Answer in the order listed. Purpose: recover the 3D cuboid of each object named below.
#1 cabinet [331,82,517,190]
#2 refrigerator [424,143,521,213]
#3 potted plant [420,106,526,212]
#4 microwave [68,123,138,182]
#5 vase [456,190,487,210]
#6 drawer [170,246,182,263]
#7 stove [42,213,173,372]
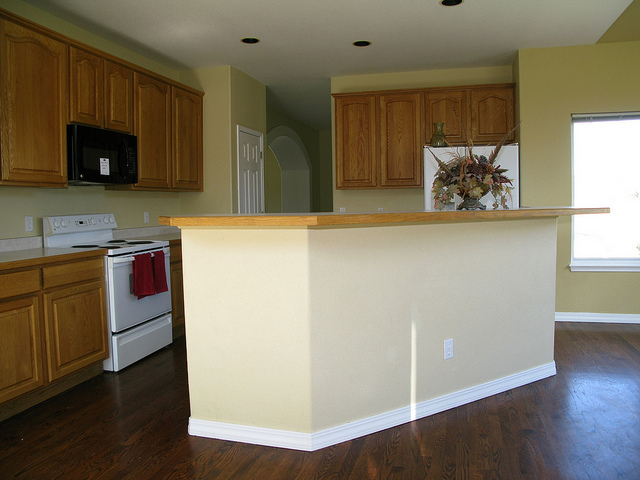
[{"bbox_3d":[1.185,-1.317,5.834,2.638,1.265,1.421,3,6,7],"label":"cabinet"},{"bbox_3d":[1.259,-0.518,3.908,0.704,0.738,0.243,-1,-3,-4],"label":"refrigerator"},{"bbox_3d":[1.171,-0.620,3.706,0.628,0.805,0.583,-1,8,-9],"label":"potted plant"},{"bbox_3d":[-2.116,-0.781,4.438,0.365,0.484,0.725,4,6,24],"label":"microwave"},{"bbox_3d":[1.206,-0.306,3.692,0.148,0.174,0.151,-1,-1,-22],"label":"vase"},{"bbox_3d":[-1.477,0.148,4.784,0.040,0.160,0.164,2,1,21],"label":"drawer"},{"bbox_3d":[-1.916,0.452,5.042,1.198,2.072,1.247,0,2,13],"label":"stove"}]
